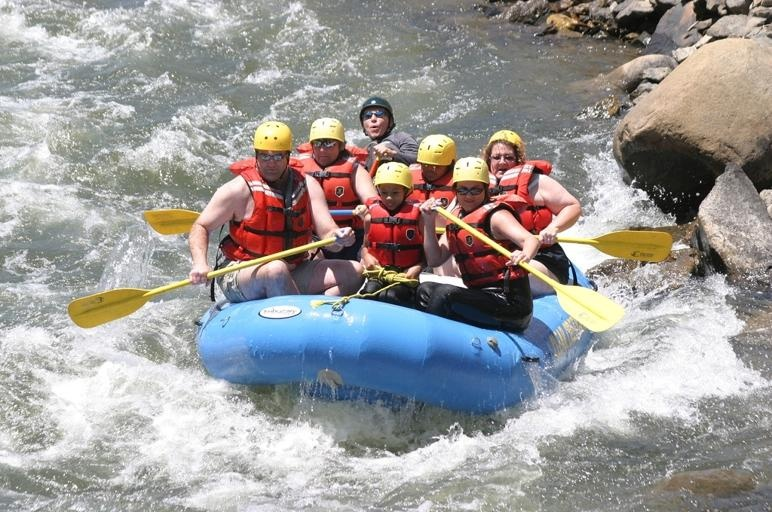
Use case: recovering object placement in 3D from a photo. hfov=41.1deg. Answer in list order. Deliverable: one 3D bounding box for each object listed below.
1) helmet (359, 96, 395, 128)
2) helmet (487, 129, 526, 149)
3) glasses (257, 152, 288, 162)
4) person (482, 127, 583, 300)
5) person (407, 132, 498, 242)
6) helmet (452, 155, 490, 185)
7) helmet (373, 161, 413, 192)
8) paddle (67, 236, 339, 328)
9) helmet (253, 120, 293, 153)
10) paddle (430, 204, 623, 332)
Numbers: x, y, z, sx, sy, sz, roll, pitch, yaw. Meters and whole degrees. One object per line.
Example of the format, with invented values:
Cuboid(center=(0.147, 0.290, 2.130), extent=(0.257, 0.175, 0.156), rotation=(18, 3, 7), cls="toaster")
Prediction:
Cuboid(center=(-0.114, -1.827, 12.622), extent=(0.366, 0.444, 0.327), rotation=(-4, 44, 7), cls="helmet")
Cuboid(center=(1.430, -1.401, 12.271), extent=(0.352, 0.227, 0.407), rotation=(0, 11, 4), cls="helmet")
Cuboid(center=(-1.241, -1.090, 11.248), extent=(0.331, 0.110, 0.084), rotation=(-3, 36, -2), cls="glasses")
Cuboid(center=(1.728, -0.609, 12.062), extent=(1.399, 0.796, 1.802), rotation=(-8, 41, 22), cls="person")
Cuboid(center=(0.817, -0.895, 11.937), extent=(0.732, 1.058, 1.018), rotation=(3, 78, 5), cls="person")
Cuboid(center=(0.922, -0.945, 11.075), extent=(0.269, 0.346, 0.251), rotation=(4, 54, 8), cls="helmet")
Cuboid(center=(0.078, -0.848, 11.149), extent=(0.405, 0.300, 0.230), rotation=(-1, 36, 0), cls="helmet")
Cuboid(center=(-2.074, 0.330, 11.779), extent=(4.196, 0.525, 0.215), rotation=(-13, 0, 0), cls="paddle")
Cuboid(center=(-1.256, -1.302, 11.291), extent=(0.395, 0.251, 0.337), rotation=(-6, 35, -7), cls="helmet")
Cuboid(center=(1.483, 0.171, 11.398), extent=(2.584, 0.119, 0.434), rotation=(34, 81, 6), cls="paddle")
